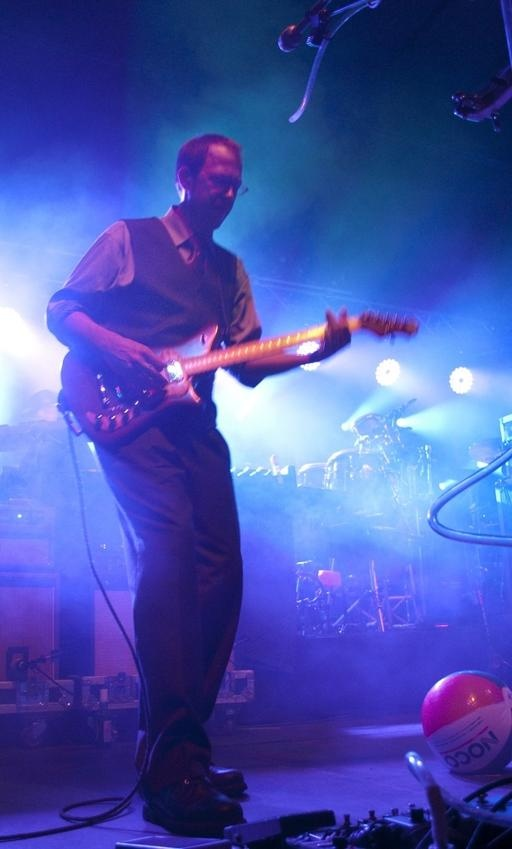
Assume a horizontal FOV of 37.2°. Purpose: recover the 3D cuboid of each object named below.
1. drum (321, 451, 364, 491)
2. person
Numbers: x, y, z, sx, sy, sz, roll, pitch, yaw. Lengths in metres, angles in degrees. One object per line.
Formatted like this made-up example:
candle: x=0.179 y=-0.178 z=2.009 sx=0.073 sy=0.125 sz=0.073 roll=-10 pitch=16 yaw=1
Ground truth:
drum: x=0.973 y=0.505 z=8.485 sx=0.152 sy=0.434 sz=0.365 roll=20 pitch=-11 yaw=-34
person: x=-0.280 y=0.098 z=2.601 sx=0.610 sy=2.286 sz=0.724 roll=-7 pitch=-12 yaw=14
